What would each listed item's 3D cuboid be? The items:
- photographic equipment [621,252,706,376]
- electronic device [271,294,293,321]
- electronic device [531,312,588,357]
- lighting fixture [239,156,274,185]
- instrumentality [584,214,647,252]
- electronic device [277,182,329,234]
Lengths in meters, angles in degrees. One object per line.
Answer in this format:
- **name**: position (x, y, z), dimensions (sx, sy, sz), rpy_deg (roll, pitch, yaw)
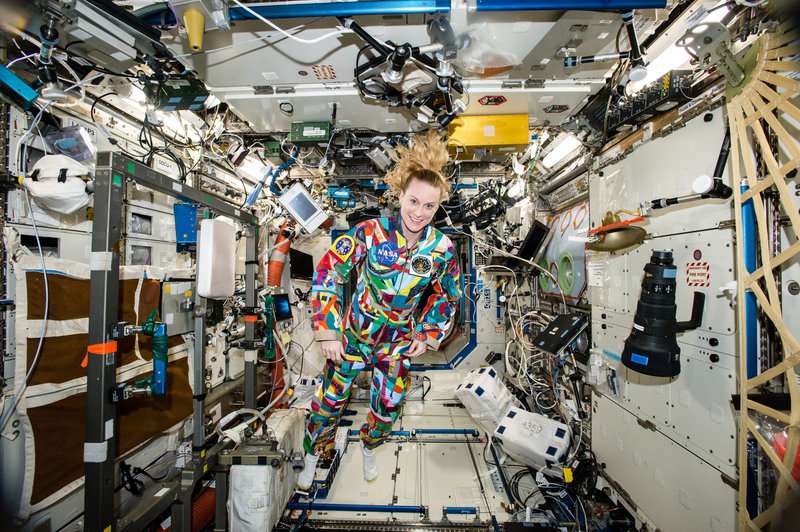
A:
- **photographic equipment**: position (2.522, 0.441, 4.921), dimensions (0.738, 1.194, 0.310), rpy_deg (-1, -3, -13)
- **electronic device**: position (-1.814, 0.626, 7.773), dimensions (0.077, 0.579, 0.406), rpy_deg (-16, -14, 21)
- **electronic device**: position (1.926, 0.809, 6.154), dimensions (0.517, 0.466, 0.366), rpy_deg (-1, -3, -13)
- **lighting fixture**: position (-2.116, -1.429, 7.277), dimensions (0.230, 0.339, 0.598), rpy_deg (-3, -3, 9)
- **instrumentality**: position (2.316, -0.378, 5.537), dimensions (0.471, 0.400, 0.670), rpy_deg (-1, -3, -21)
- **electronic device**: position (-1.451, -0.882, 7.455), dimensions (0.473, 0.808, 0.086), rpy_deg (-43, 15, -12)
